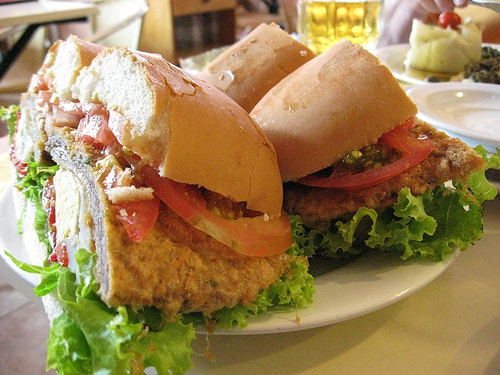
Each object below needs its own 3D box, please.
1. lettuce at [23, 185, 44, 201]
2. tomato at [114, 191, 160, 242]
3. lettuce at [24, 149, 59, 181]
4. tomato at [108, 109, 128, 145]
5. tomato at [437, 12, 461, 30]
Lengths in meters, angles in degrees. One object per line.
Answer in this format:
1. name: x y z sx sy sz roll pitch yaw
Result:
1. lettuce: -0.677 0.015 1.412 0.053 0.019 0.054 -3 58 4
2. tomato: -0.257 0.055 1.031 0.092 0.028 0.152 3 34 -8
3. lettuce: -0.645 -0.086 1.408 0.079 0.081 0.031 -10 39 -42
4. tomato: -0.311 -0.139 1.068 0.021 0.077 0.069 1 24 -39
5. tomato: 1.092 -0.902 2.454 0.091 0.075 0.178 -11 26 -13
